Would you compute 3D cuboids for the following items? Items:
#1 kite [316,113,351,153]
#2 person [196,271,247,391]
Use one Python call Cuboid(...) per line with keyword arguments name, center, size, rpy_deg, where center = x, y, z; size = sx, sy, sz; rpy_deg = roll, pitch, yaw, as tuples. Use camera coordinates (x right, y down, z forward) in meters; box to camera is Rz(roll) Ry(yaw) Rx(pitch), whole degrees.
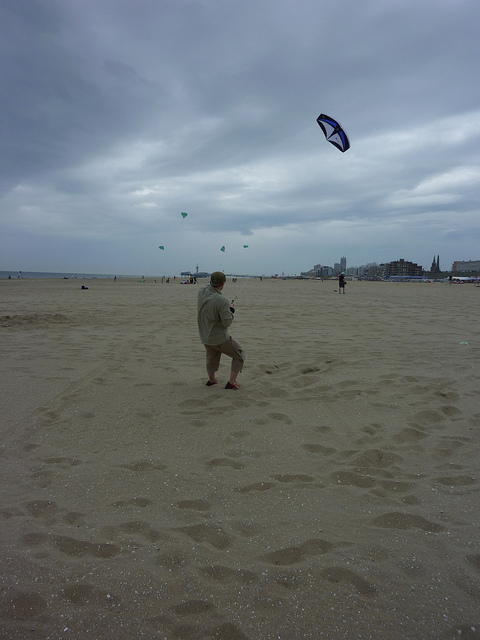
Cuboid(name="kite", center=(1.687, -3.435, 9.081), size=(0.566, 0.541, 0.904), rpy_deg=(3, 4, 8))
Cuboid(name="person", center=(-0.199, 0.115, 4.985), size=(0.491, 1.166, 0.802), rpy_deg=(2, 4, -1))
